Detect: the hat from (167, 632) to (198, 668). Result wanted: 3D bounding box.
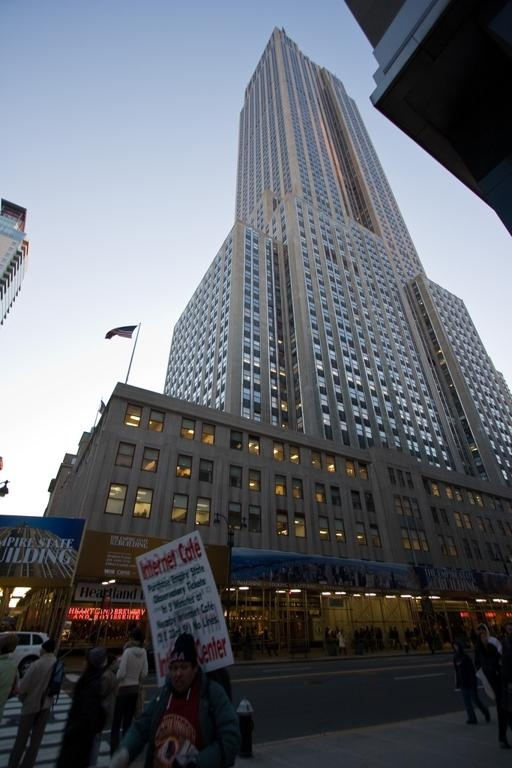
[{"bbox_3d":[-0.549,2.045,3.301,0.175,0.241,0.244,5,-52,-5],"label":"hat"}]
